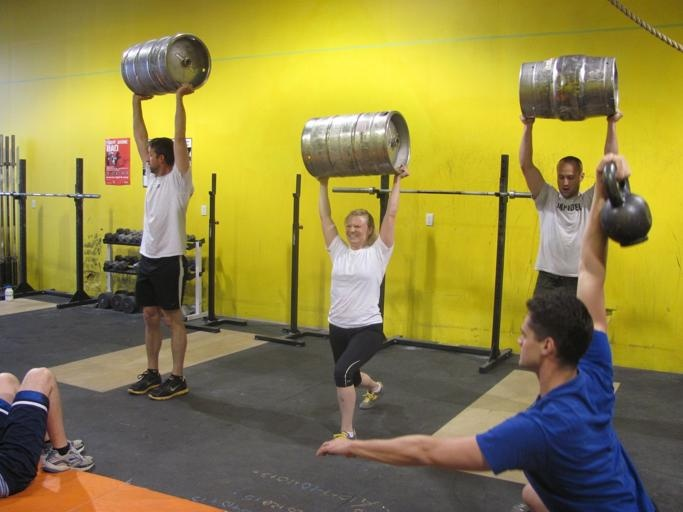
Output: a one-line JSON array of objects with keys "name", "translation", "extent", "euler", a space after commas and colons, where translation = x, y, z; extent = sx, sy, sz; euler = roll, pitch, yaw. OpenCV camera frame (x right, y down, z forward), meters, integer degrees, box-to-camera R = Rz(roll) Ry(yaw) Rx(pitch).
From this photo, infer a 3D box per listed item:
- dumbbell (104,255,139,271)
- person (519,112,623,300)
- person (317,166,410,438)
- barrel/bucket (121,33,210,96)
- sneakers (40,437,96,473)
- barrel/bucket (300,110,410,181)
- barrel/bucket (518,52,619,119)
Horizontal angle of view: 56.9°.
[{"name": "dumbbell", "translation": [-2.661, 0.093, 7.578], "extent": [0.189, 0.065, 0.180], "euler": [4, 6, 20]}, {"name": "person", "translation": [1.729, -0.325, 4.769], "extent": [0.571, 1.675, 0.514], "euler": [7, 11, 25]}, {"name": "person", "translation": [0.070, 0.283, 4.370], "extent": [0.717, 1.671, 0.739], "euler": [0, 2, -12]}, {"name": "barrel/bucket", "translation": [-1.339, -1.435, 4.757], "extent": [0.660, 0.420, 0.291], "euler": [-1, 9, -13]}, {"name": "sneakers", "translation": [-1.607, 1.182, 3.746], "extent": [0.120, 0.145, 0.318], "euler": [-1, -6, 43]}, {"name": "barrel/bucket", "translation": [0.077, -0.727, 4.205], "extent": [0.626, 0.517, 0.447], "euler": [3, 10, -7]}, {"name": "barrel/bucket", "translation": [1.430, -1.062, 3.981], "extent": [0.589, 0.402, 0.232], "euler": [4, 10, 15]}]
